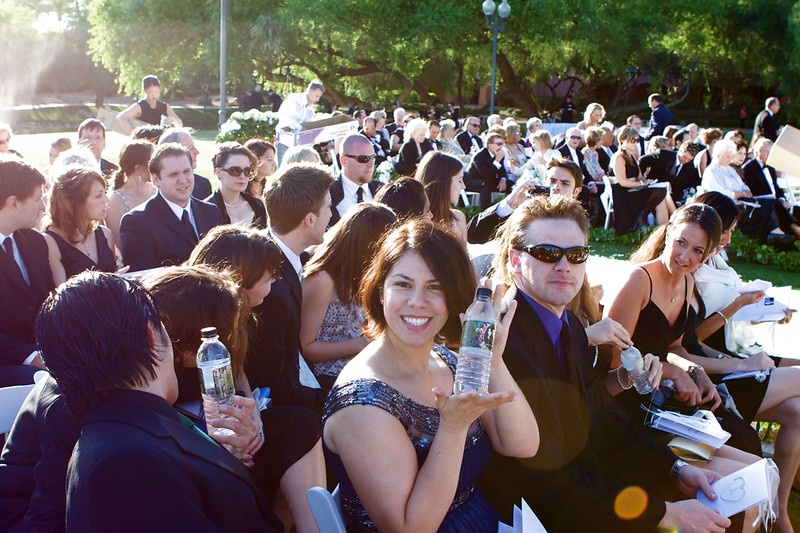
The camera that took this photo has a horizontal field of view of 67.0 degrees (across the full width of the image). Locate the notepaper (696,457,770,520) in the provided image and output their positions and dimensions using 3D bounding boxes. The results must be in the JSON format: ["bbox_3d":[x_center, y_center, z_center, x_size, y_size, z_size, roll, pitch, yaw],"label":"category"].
[{"bbox_3d":[2.158,1.420,3.858,0.386,0.107,0.388,-41,8,9],"label":"notepaper"}]

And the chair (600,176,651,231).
[{"bbox_3d":[4.901,-1.498,13.291,0.937,1.513,0.940,2,20,17],"label":"chair"}]

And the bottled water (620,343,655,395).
[{"bbox_3d":[1.692,0.728,4.361,0.247,0.339,0.143,2,12,-6],"label":"bottled water"}]
